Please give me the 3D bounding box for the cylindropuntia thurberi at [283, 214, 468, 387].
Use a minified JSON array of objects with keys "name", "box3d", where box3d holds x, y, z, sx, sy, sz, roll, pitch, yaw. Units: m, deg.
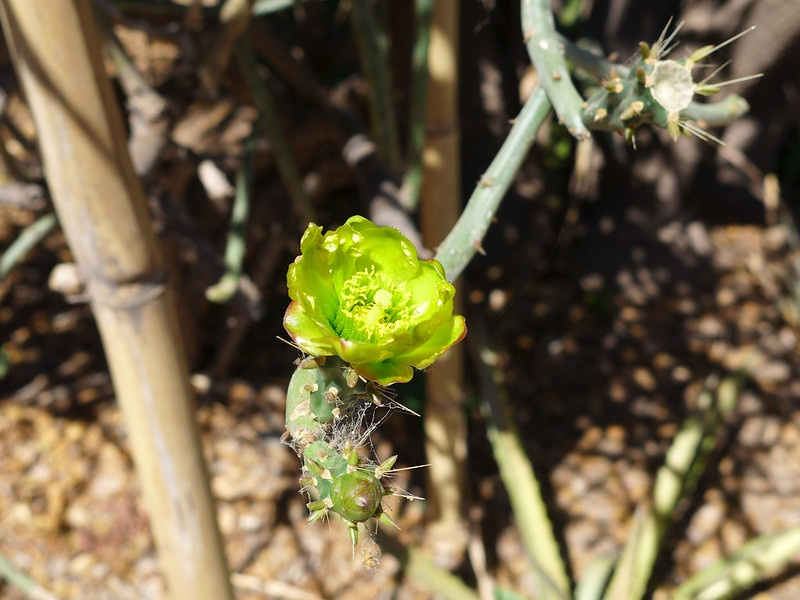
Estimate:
[{"name":"cylindropuntia thurberi","box3d":[-0.028,0.001,1.309,0.197,0.064,0.303,-12,70,39]}]
